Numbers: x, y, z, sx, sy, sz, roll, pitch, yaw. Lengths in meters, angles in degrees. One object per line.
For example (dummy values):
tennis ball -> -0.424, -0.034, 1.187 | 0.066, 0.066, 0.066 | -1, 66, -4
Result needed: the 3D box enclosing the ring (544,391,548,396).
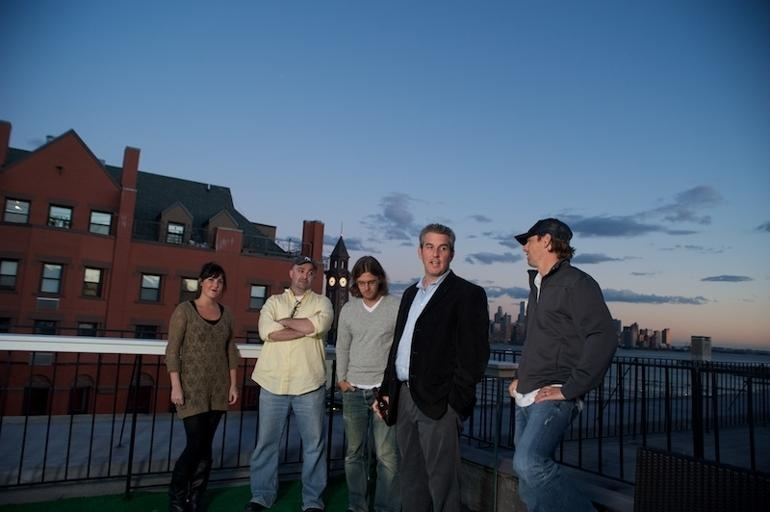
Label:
ring -> 1.364, 1.160, 4.045 | 0.043, 0.038, 0.009 | -3, -5, 21
